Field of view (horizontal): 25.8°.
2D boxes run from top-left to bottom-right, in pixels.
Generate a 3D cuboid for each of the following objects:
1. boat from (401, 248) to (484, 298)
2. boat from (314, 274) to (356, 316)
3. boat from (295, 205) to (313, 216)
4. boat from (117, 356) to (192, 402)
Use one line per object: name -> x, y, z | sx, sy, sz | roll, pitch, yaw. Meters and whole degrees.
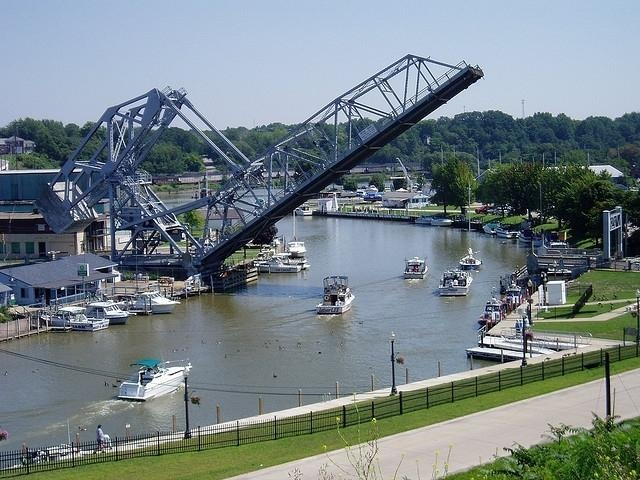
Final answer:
boat -> 8.712, 2.559, 94.619 | 2.879, 1.557, 4.893 | 0, 7, 11
boat -> 0.902, 3.525, 87.680 | 1.975, 1.967, 3.342 | 1, 7, 9
boat -> -1.571, -3.063, 156.673 | 0.939, 1.165, 3.323 | -1, -3, 28
boat -> -8.864, 7.284, 74.651 | 1.802, 1.948, 5.605 | 5, 10, 35
